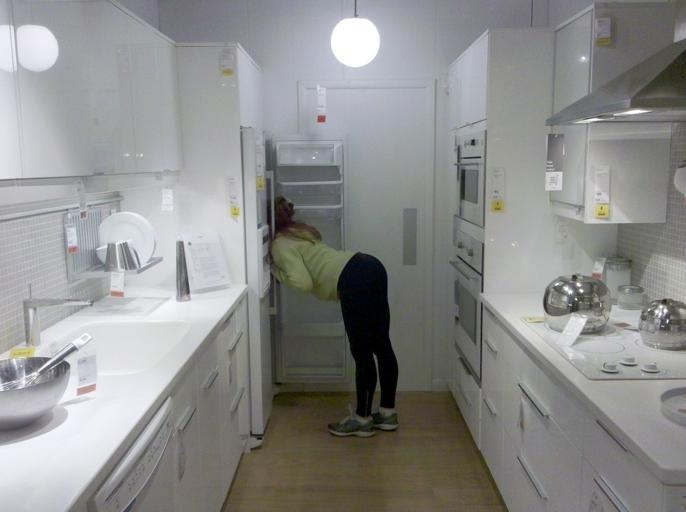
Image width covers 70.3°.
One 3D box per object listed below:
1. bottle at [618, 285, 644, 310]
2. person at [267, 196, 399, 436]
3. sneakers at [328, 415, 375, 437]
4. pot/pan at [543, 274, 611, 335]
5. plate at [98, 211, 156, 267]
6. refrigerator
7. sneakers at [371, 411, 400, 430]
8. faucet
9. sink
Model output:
[{"bbox_3d":[1.604,0.235,2.714,0.102,0.100,0.108,-2,5,-10],"label":"bottle"},{"bbox_3d":[-0.044,0.431,3.445,0.892,1.577,0.428,2,12,11],"label":"person"},{"bbox_3d":[0.062,1.176,3.454,0.308,0.159,0.139,2,-1,1],"label":"sneakers"},{"bbox_3d":[1.169,0.207,2.445,0.267,0.269,0.283,1,6,10],"label":"pot/pan"},{"bbox_3d":[-1.233,-0.084,2.768,0.248,0.277,0.035,-12,2,0],"label":"plate"},{"bbox_3d":[-0.326,0.114,3.552,1.007,2.111,0.635,-1,-8,-3],"label":"refrigerator"},{"bbox_3d":[0.299,1.161,3.472,0.087,0.101,0.217,-2,6,-39],"label":"sneakers"},{"bbox_3d":[-1.211,0.258,2.096,0.260,0.224,0.182,-2,13,-7],"label":"faucet"},{"bbox_3d":[-1.032,0.441,2.415,0.318,0.103,0.328,2,11,2],"label":"sink"}]
